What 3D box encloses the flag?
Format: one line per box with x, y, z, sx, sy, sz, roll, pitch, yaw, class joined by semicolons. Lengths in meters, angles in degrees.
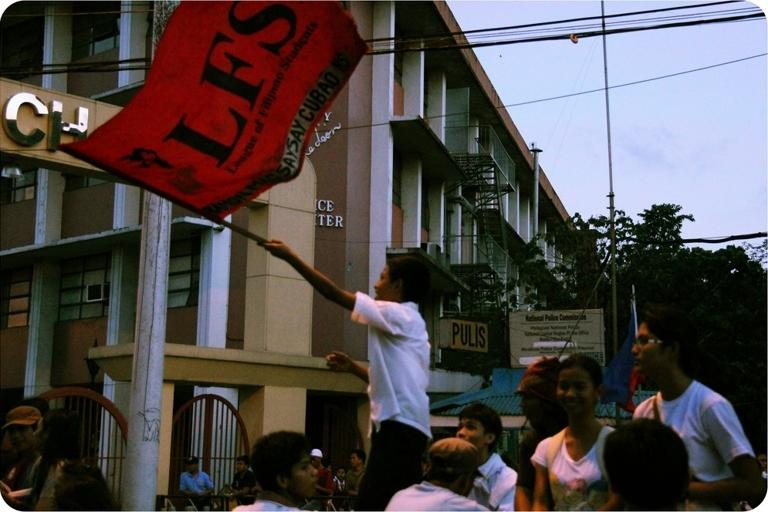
-3.788;-3.089;33.111;5.711;5.941;1.528;26;-17;-6;flag

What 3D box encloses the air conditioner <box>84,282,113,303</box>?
-8.968;1.205;45.681;1.059;0.725;0.577;-9;-19;34;air conditioner
